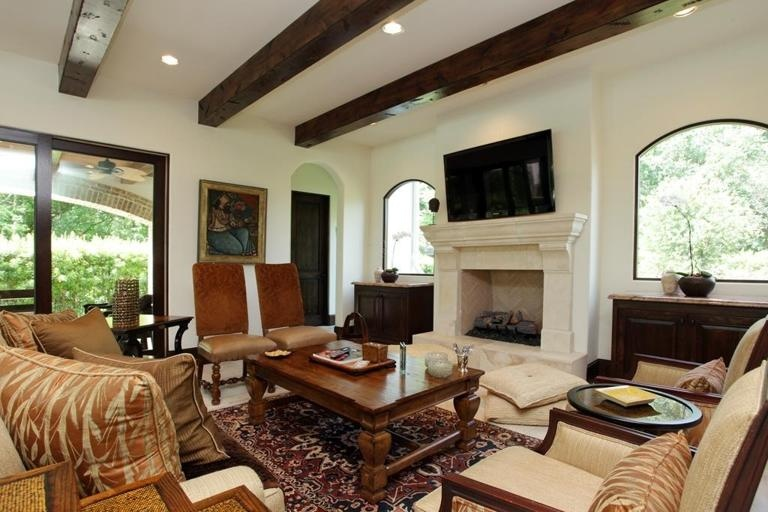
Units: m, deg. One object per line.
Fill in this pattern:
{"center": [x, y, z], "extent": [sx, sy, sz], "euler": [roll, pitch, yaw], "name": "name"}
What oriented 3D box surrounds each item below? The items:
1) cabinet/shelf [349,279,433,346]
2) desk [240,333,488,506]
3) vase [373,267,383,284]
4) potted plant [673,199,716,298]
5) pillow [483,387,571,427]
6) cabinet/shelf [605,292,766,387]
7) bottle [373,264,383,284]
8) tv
{"center": [0.115, 0.837, 7.330], "extent": [1.071, 0.863, 0.633], "euler": [1, 1, 38], "name": "cabinet/shelf"}
{"center": [-0.236, 1.251, 4.389], "extent": [1.835, 0.630, 1.353], "euler": [5, 6, 41], "name": "desk"}
{"center": [-0.061, 0.308, 7.496], "extent": [0.178, 0.216, 0.184], "euler": [4, -5, -37], "name": "vase"}
{"center": [3.149, -0.060, 5.078], "extent": [0.401, 0.854, 0.738], "euler": [7, 13, 25], "name": "potted plant"}
{"center": [1.174, 1.334, 4.345], "extent": [0.533, 0.160, 0.541], "euler": [-3, 17, 7], "name": "pillow"}
{"center": [2.647, 0.707, 4.318], "extent": [0.889, 0.808, 0.343], "euler": [-1, -4, 42], "name": "cabinet/shelf"}
{"center": [-0.049, 0.302, 7.531], "extent": [0.184, 0.216, 0.191], "euler": [3, -6, -31], "name": "bottle"}
{"center": [1.443, -0.958, 6.045], "extent": [1.333, 0.872, 0.099], "euler": [0, 6, 43], "name": "tv"}
